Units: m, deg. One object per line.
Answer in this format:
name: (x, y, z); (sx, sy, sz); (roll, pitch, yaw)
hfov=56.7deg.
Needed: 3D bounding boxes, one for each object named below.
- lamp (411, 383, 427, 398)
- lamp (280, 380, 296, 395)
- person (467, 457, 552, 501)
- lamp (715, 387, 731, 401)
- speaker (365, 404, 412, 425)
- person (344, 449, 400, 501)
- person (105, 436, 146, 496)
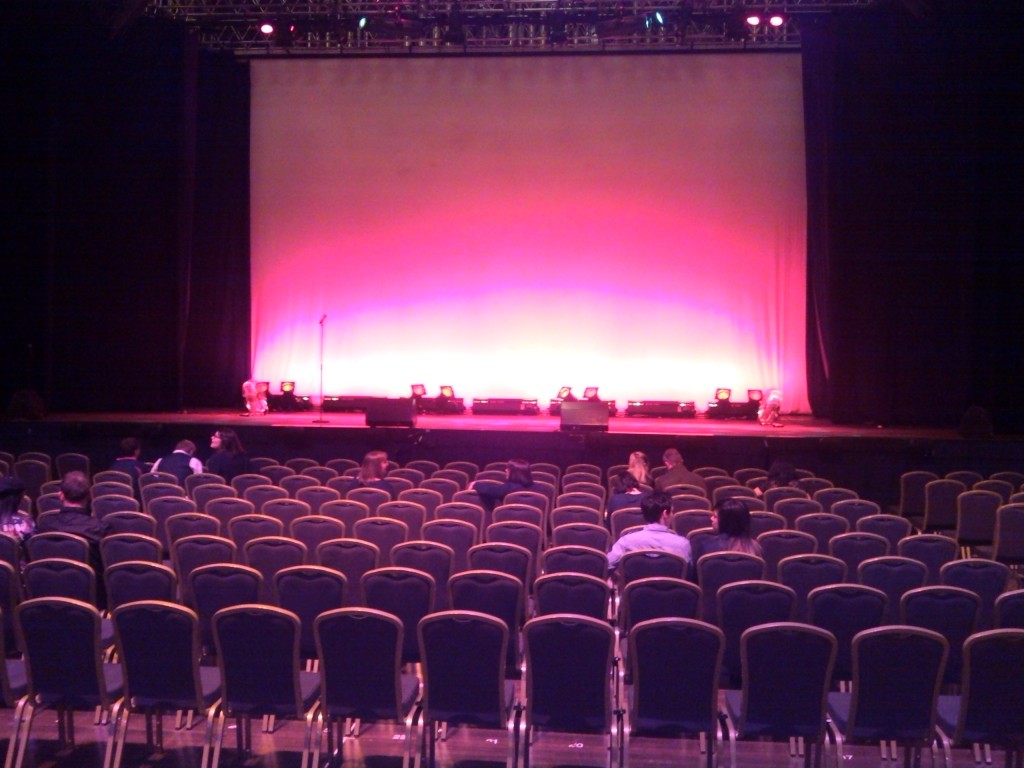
lamp: (-1.887, 0.141, 19.189); (0.258, 0.274, 0.068); (3, -9, -8)
lamp: (-4.585, 0.082, 19.462); (0.245, 0.277, 0.255); (-1, -1, 37)
person: (-0.065, 1.131, 10.838); (0.537, 0.458, 0.755); (3, -2, -5)
lamp: (4.161, 0.229, 18.680); (0.211, 0.321, 0.325); (2, 13, 11)
speaker: (-1.985, 0.539, 15.457); (0.753, 0.352, 0.192); (1, -16, -5)
person: (-1.653, 1.132, 11.932); (0.525, 0.812, 0.543); (2, 0, 31)
person: (-4.845, 1.185, 12.058); (0.386, 0.976, 0.438); (6, 16, -3)
